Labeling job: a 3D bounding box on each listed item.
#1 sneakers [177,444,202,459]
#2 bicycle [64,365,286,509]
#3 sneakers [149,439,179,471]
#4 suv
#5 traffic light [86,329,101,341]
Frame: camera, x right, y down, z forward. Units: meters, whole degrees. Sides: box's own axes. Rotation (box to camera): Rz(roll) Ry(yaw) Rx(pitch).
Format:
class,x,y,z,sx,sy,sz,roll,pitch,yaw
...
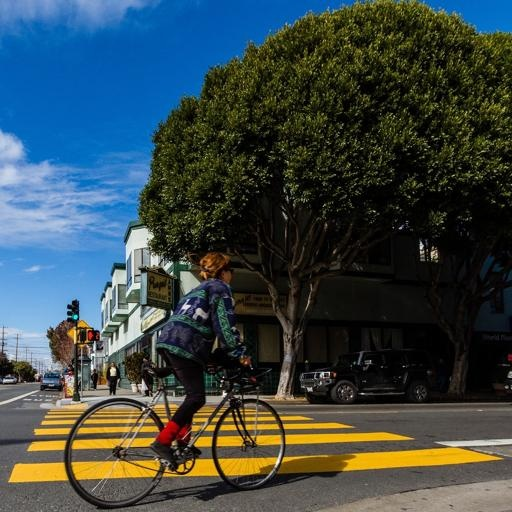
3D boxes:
class,x,y,z,sx,sy,sz,roll,pitch,yaw
sneakers,-0.508,1.531,4.169,0.107,0.127,0.226,-1,-8,42
bicycle,-0.577,1.407,4.258,1.800,1.077,0.444,7,-6,-29
sneakers,-0.689,1.502,4.017,0.131,0.314,0.106,-24,-16,-9
suv,3.720,3.945,17.539,3.614,1.530,2.005,6,-15,-20
traffic light,-7.002,3.409,22.739,0.203,0.537,0.744,2,-6,23
